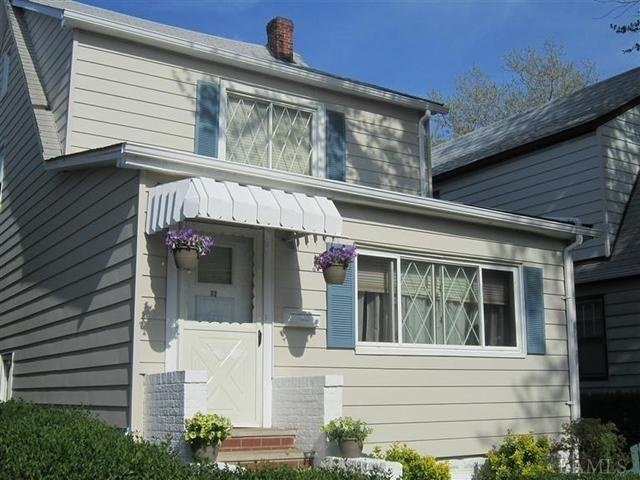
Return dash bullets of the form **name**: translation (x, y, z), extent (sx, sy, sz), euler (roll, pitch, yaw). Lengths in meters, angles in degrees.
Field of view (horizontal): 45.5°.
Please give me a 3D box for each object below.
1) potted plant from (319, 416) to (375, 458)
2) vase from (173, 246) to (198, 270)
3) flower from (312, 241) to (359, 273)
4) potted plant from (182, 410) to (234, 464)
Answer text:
- **potted plant**: translation (0.517, 3.473, 13.204), extent (0.683, 0.636, 0.799), euler (-3, -24, -2)
- **vase**: translation (-2.269, 0.350, 12.953), extent (0.349, 0.263, 0.341), euler (19, -22, -40)
- **flower**: translation (0.236, 0.335, 14.295), extent (0.603, 0.445, 0.582), euler (2, -3, -12)
- **potted plant**: translation (-1.820, 3.198, 12.244), extent (0.700, 0.819, 0.781), euler (4, -3, -15)
